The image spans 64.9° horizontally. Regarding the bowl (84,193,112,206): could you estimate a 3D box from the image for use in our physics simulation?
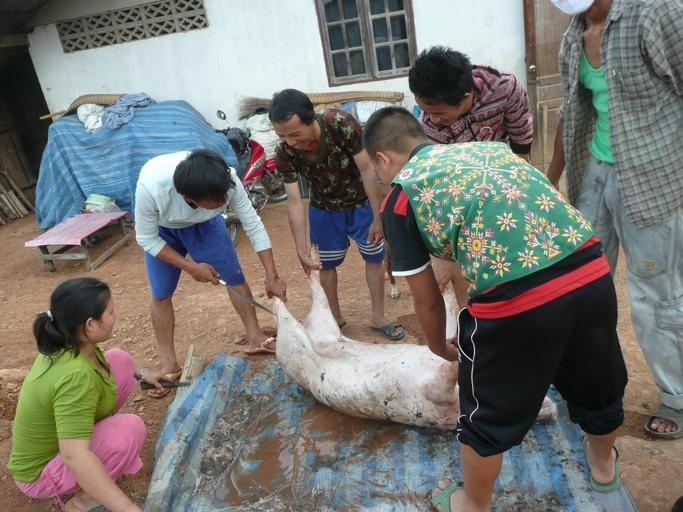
[{"bbox_3d":[-3.562,-0.854,7.816,0.424,0.150,0.224,-1,24,24],"label":"bowl"}]

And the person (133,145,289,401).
[{"bbox_3d":[-0.976,-0.166,3.852,0.832,2.196,0.877,-21,24,-30],"label":"person"}]

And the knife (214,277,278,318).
[{"bbox_3d":[-0.831,0.361,4.584,0.732,0.112,0.064,25,36,-22],"label":"knife"}]

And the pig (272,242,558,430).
[{"bbox_3d":[0.163,0.466,3.717,1.298,1.039,1.138,16,17,-6],"label":"pig"}]

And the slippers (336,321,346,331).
[{"bbox_3d":[-0.004,0.567,4.617,0.033,0.122,0.061,-14,2,-27],"label":"slippers"}]

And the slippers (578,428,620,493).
[{"bbox_3d":[1.435,1.098,2.991,0.118,0.149,0.387,-8,27,9],"label":"slippers"}]

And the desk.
[{"bbox_3d":[-3.522,-0.229,6.979,0.805,0.427,1.309,4,26,7],"label":"desk"}]

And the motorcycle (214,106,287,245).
[{"bbox_3d":[-1.329,-0.925,7.790,1.258,2.299,1.190,-13,25,-37],"label":"motorcycle"}]
